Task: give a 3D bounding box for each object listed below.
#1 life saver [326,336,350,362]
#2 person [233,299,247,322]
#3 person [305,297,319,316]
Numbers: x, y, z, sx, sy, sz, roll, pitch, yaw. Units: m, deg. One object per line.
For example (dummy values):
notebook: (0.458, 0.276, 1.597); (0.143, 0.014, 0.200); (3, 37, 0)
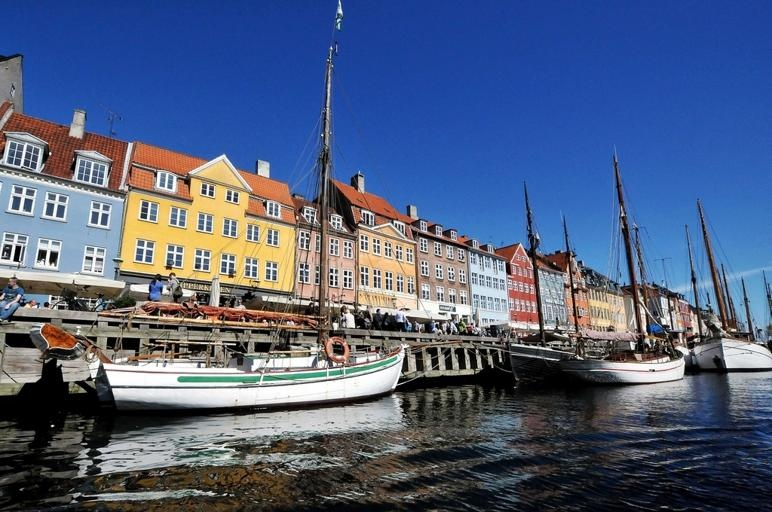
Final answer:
life saver: (-2.461, 4.606, 22.687); (1.249, 1.211, 0.323); (8, -16, -39)
person: (-8.027, 2.920, 25.198); (0.852, 1.495, 0.414); (-1, -10, -42)
person: (-4.874, 3.294, 29.699); (0.991, 1.415, 2.215); (-3, -4, -5)
